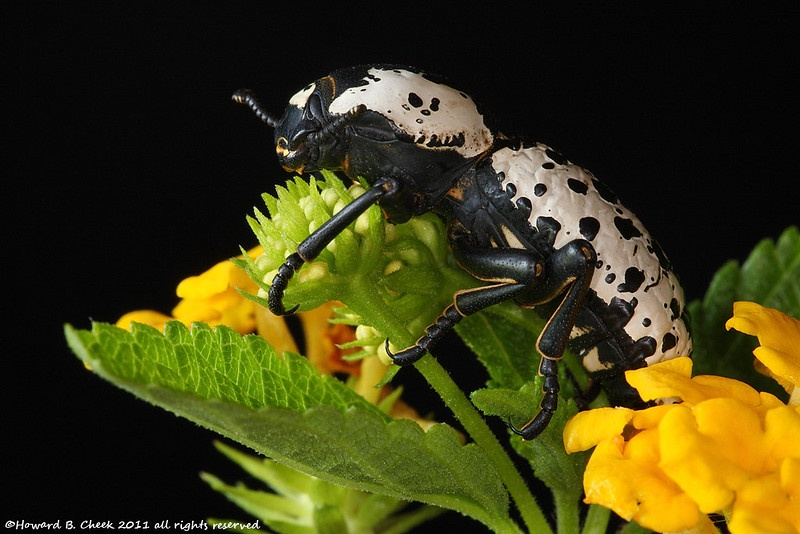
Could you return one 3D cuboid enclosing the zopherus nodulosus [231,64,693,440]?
[{"bbox_3d":[0.142,-0.091,2.414,1.209,0.629,0.676,24,9,-5],"label":"zopherus nodulosus"}]
